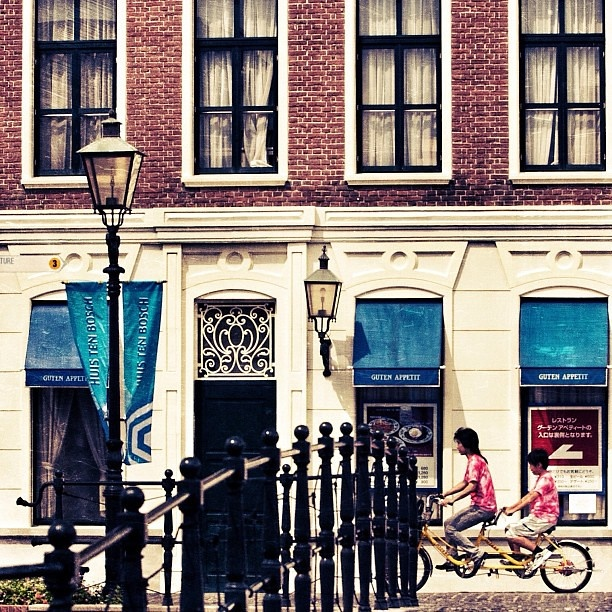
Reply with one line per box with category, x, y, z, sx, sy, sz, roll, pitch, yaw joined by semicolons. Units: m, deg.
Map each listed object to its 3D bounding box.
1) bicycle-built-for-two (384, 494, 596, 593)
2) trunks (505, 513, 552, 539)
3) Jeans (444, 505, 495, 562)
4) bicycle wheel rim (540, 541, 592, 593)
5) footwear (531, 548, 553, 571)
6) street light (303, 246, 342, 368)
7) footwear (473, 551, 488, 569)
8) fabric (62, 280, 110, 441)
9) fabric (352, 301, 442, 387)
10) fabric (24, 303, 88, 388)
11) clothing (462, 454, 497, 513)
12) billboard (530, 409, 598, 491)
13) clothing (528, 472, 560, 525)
bicycle-built-for-two;2.022;2.708;27.723;2.283;1.192;0.919;2;-4;1
trunks;2.427;2.438;27.253;0.405;0.183;0.265;-2;-6;6
Jeans;1.795;2.509;27.263;0.559;0.569;0.264;-3;-7;3
bicycle wheel rim;2.872;2.917;27.537;0.606;0.607;0.579;1;-6;-6
footwear;2.568;2.790;27.216;0.114;0.133;0.308;21;-49;-13
street light;0.205;0.060;28.760;0.420;1.521;0.641;-2;-7;1
footwear;1.889;2.805;27.140;0.111;0.157;0.056;3;-26;33
fabric;-2.496;0.635;29.272;0.596;2.033;0.078;-5;22;-1
fabric;1.103;0.500;29.099;1.070;1.048;0.643;-1;-15;14
fabric;-2.935;0.517;29.206;0.908;0.977;0.531;-1;-10;0
clothing;1.915;1.992;27.457;0.397;0.816;0.685;-3;-2;16
billboard;2.992;1.709;28.552;0.952;1.092;0.042;0;-10;2
clothing;2.585;2.104;27.597;0.437;0.731;0.815;2;-3;8
